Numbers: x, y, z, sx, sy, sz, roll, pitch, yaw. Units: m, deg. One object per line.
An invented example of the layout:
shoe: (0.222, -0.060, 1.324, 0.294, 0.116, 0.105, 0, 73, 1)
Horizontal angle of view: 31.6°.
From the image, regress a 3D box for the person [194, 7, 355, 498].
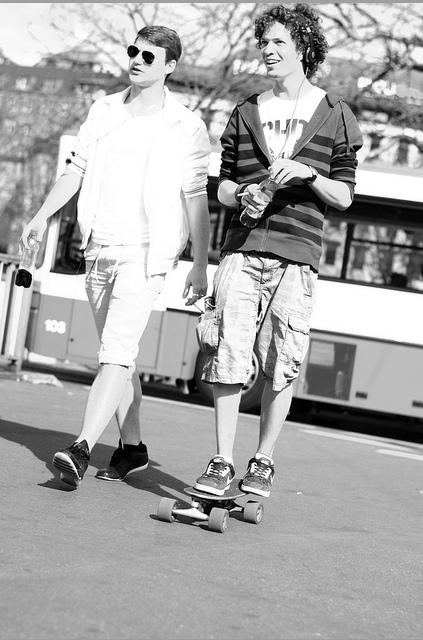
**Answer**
person: (0.306, -0.319, 3.358, 0.597, 2.074, 0.571, 10, -2, -11)

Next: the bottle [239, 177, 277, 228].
bottle: (0.202, -0.499, 3.215, 0.129, 0.187, 0.283, 10, -2, 2)

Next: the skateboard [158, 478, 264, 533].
skateboard: (0.027, 0.802, 3.303, 0.301, 0.214, 0.541, 9, -2, 30)

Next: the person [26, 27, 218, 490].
person: (-0.414, -0.336, 3.481, 0.725, 2.118, 0.600, 8, -2, 34)

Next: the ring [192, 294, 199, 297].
ring: (-0.070, -0.111, 3.447, 0.023, 0.012, 0.058, 9, -2, 8)
